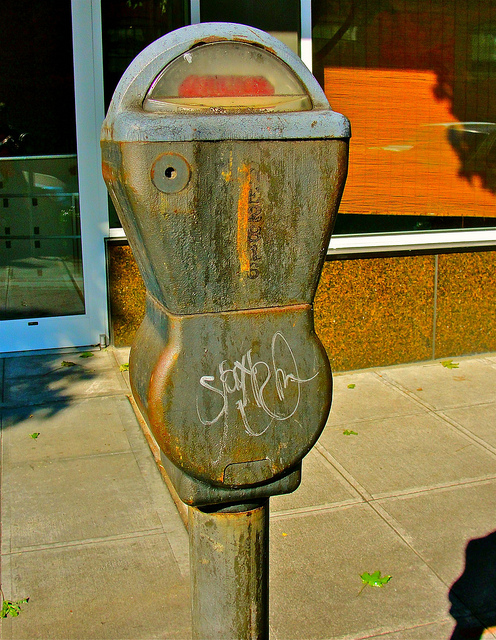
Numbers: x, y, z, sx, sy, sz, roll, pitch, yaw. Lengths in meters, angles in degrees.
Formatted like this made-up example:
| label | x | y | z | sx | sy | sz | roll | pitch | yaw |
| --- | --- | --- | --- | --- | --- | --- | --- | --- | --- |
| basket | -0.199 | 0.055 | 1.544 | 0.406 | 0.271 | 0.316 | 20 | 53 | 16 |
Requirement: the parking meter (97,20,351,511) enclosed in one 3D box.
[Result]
| label | x | y | z | sx | sy | sz | roll | pitch | yaw |
| --- | --- | --- | --- | --- | --- | --- | --- | --- | --- |
| parking meter | -0.044 | -0.080 | 1.166 | 0.391 | 0.860 | 0.256 | -5 | 15 | -21 |
